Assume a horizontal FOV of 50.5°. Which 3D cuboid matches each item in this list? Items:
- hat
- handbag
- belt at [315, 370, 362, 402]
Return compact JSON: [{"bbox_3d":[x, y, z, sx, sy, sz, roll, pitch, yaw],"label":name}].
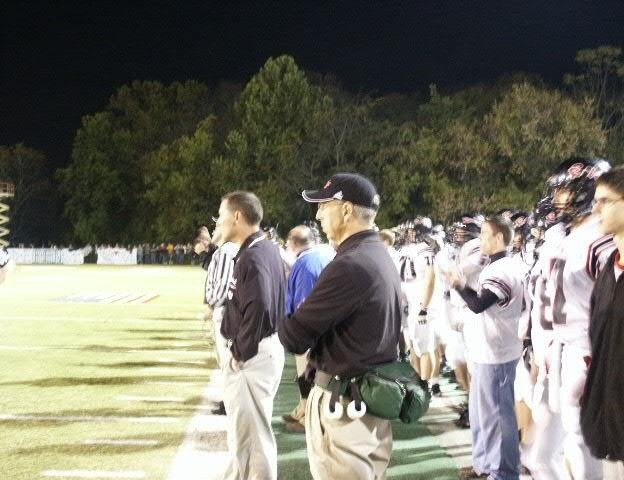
[{"bbox_3d":[0.258,-0.384,5.130,0.427,0.231,0.318,5,4,9],"label":"hat"},{"bbox_3d":[0.616,1.093,4.777,0.405,0.487,0.175,-13,-21,-30],"label":"handbag"},{"bbox_3d":[0.191,1.058,4.817,0.211,0.110,0.184,10,-10,24],"label":"belt"}]
